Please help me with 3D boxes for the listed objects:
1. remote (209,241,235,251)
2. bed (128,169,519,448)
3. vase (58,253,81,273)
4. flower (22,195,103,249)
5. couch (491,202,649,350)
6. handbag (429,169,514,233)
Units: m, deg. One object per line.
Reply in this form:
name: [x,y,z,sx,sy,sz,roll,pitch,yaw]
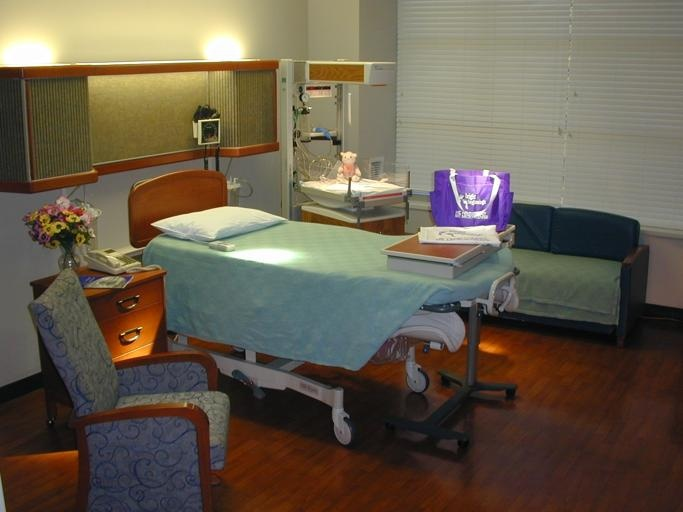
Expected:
remote: [-0.833,-0.071,3.897,0.180,0.040,0.163,-5,19,-10]
bed: [-0.295,0.220,3.895,2.532,1.488,1.184,7,15,34]
vase: [-1.721,0.044,3.528,0.111,0.129,0.110,10,14,43]
flower: [-1.784,-0.241,3.550,0.384,0.269,0.394,6,14,34]
couch: [2.031,0.123,5.325,1.484,0.977,0.813,10,23,39]
handbag: [0.976,-0.346,4.029,0.575,0.412,0.335,2,-1,35]
